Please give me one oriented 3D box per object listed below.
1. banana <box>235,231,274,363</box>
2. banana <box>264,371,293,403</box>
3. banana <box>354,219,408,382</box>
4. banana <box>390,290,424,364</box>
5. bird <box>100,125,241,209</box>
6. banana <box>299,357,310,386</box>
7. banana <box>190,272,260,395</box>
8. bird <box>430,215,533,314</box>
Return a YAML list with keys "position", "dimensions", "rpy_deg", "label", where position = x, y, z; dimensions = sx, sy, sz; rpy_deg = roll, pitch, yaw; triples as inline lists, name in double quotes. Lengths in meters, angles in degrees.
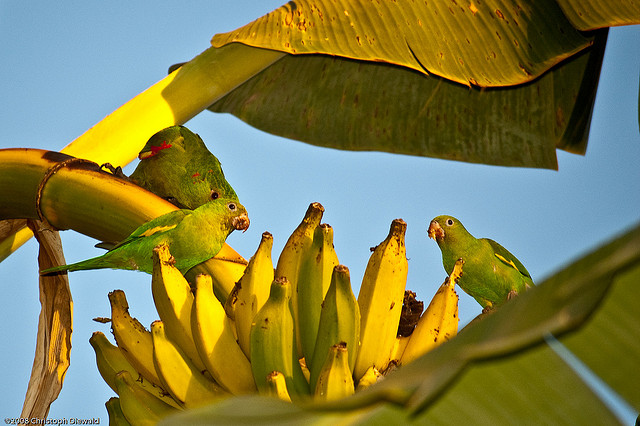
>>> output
- position: [-0.226, 0.278, 3.862]
  dimensions: [0.088, 0.410, 0.129]
  rpy_deg: [31, -46, -19]
  label: "banana"
- position: [-0.141, 0.582, 3.624]
  dimensions: [0.067, 0.094, 0.078]
  rpy_deg: [-14, -47, -8]
  label: "banana"
- position: [0.210, 0.348, 3.699]
  dimensions: [0.110, 0.179, 0.591]
  rpy_deg: [14, -97, -11]
  label: "banana"
- position: [0.298, 0.389, 4.029]
  dimensions: [0.095, 0.142, 0.396]
  rpy_deg: [-33, -31, -13]
  label: "banana"
- position: [-0.559, -0.177, 4.345]
  dimensions: [0.401, 0.296, 0.194]
  rpy_deg: [-12, -46, -13]
  label: "bird"
- position: [-0.053, 0.549, 3.808]
  dimensions: [0.017, 0.031, 0.129]
  rpy_deg: [-4, -75, 13]
  label: "banana"
- position: [-0.328, 0.443, 3.787]
  dimensions: [0.113, 0.368, 0.084]
  rpy_deg: [-26, -4, 41]
  label: "banana"
- position: [0.582, 0.228, 3.897]
  dimensions: [0.361, 0.318, 0.206]
  rpy_deg: [-6, -37, -26]
  label: "bird"
